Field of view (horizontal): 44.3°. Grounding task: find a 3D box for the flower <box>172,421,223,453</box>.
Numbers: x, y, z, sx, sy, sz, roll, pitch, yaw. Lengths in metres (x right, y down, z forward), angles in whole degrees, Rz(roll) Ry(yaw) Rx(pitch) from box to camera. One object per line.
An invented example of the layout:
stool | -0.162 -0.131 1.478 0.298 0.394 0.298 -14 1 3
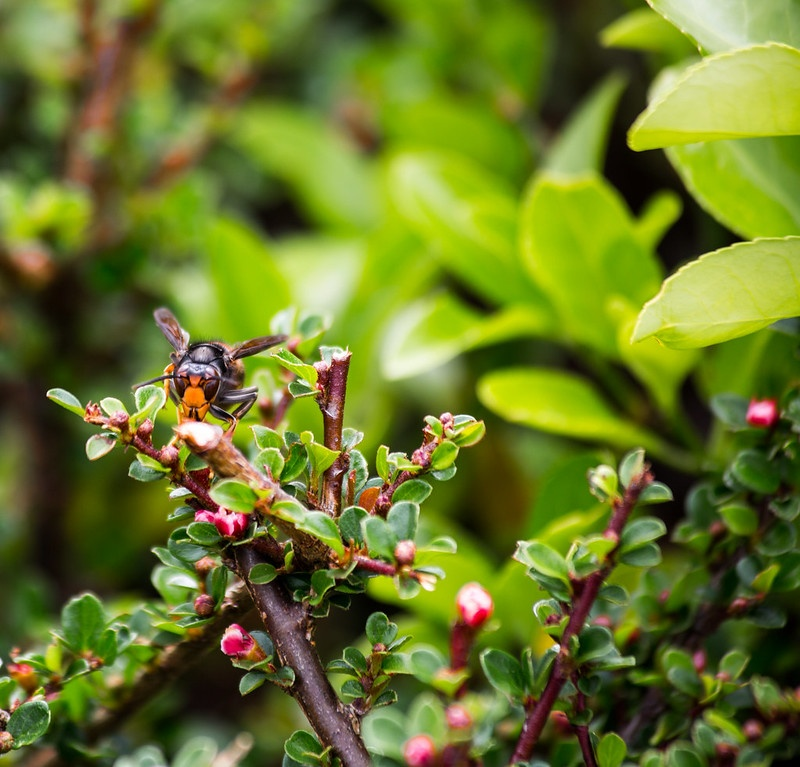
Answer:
flower | -0.218 0.054 1.068 0.035 0.027 0.032 6 3 19

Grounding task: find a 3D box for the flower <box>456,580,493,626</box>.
flower | 0.093 0.269 1.247 0.034 0.059 0.031 -7 6 10

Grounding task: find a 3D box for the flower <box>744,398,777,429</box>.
flower | 0.484 0.042 1.318 0.032 0.043 0.037 3 -15 12

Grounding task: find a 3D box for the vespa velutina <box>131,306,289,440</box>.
vespa velutina | -0.210 -0.018 1.243 0.157 0.095 0.146 2 -1 32

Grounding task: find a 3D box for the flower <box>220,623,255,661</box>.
flower | -0.197 0.310 1.180 0.034 0.045 0.017 -19 12 5

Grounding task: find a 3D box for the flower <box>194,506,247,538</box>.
flower | -0.206 0.162 1.146 0.037 0.056 0.028 -57 3 -3
